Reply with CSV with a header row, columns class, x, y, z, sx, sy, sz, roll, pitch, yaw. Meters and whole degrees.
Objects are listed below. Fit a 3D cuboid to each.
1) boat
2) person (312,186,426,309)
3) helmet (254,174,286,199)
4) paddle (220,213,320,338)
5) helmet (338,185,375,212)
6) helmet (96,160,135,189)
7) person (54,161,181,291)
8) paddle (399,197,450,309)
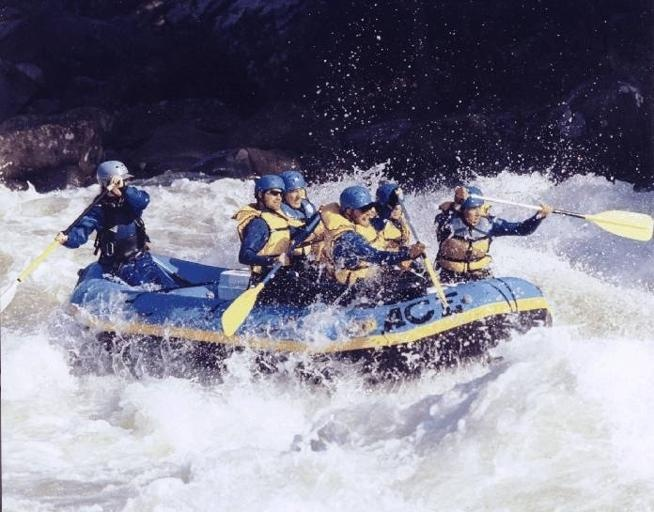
class,x,y,z,sx,sy,sz,roll,pitch,yaw
boat,-0.160,0.489,6.588,2.516,0.594,1.230,3,10,17
person,0.307,-0.054,6.460,0.743,0.773,0.463,8,9,14
helmet,-0.380,-0.486,6.686,0.186,0.143,0.150,-19,-2,17
paddle,-0.349,0.160,6.568,1.114,0.156,0.051,-48,6,-9
helmet,0.204,-0.374,6.446,0.196,0.122,0.149,8,12,10
helmet,-1.498,-0.559,6.787,0.228,0.139,0.160,-13,9,16
person,-1.545,-0.227,7.020,0.532,0.923,0.444,-38,14,-27
paddle,0.685,0.005,6.630,0.093,0.797,0.070,-11,-14,-31
